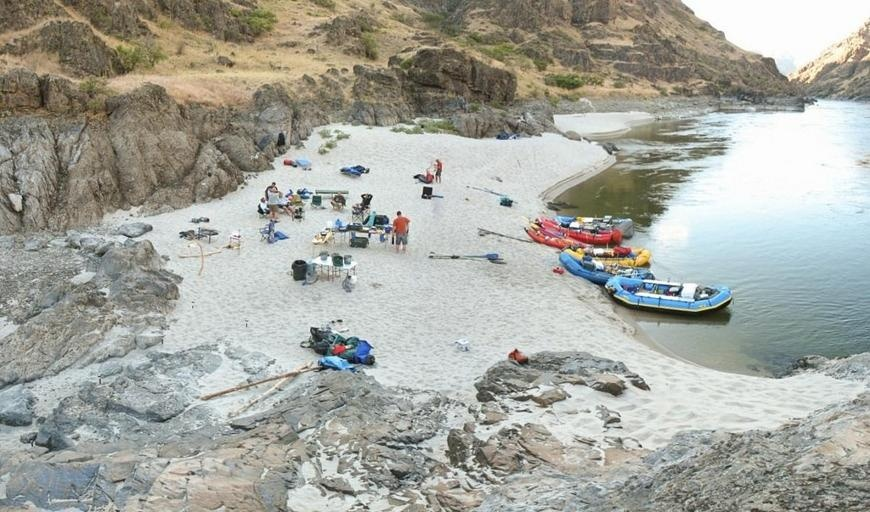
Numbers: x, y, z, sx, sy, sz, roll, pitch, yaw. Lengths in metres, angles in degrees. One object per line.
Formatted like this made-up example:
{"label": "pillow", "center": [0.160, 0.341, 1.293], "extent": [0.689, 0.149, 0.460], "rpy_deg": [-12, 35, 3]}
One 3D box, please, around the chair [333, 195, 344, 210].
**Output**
{"label": "chair", "center": [-5.783, -3.259, 48.670], "extent": [0.671, 0.850, 0.445], "rpy_deg": [-2, 22, -8]}

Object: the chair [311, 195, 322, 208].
{"label": "chair", "center": [-7.108, -3.284, 48.705], "extent": [0.798, 0.826, 0.703], "rpy_deg": [1, 11, -2]}

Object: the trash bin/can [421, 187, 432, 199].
{"label": "trash bin/can", "center": [-0.529, -3.987, 51.152], "extent": [0.671, 0.784, 0.899], "rpy_deg": [2, 20, 4]}

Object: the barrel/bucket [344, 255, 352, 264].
{"label": "barrel/bucket", "center": [-4.580, 0.192, 42.651], "extent": [0.502, 0.431, 0.446], "rpy_deg": [2, 5, -1]}

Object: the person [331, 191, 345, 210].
{"label": "person", "center": [-5.834, -3.394, 49.115], "extent": [0.572, 0.719, 1.407], "rpy_deg": [-3, 21, -17]}

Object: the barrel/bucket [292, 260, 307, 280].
{"label": "barrel/bucket", "center": [-7.072, 0.766, 42.353], "extent": [0.862, 0.875, 0.607], "rpy_deg": [6, 35, -11]}

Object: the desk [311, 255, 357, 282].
{"label": "desk", "center": [-5.240, 0.836, 43.221], "extent": [2.681, 1.564, 1.387], "rpy_deg": [7, 48, 4]}
